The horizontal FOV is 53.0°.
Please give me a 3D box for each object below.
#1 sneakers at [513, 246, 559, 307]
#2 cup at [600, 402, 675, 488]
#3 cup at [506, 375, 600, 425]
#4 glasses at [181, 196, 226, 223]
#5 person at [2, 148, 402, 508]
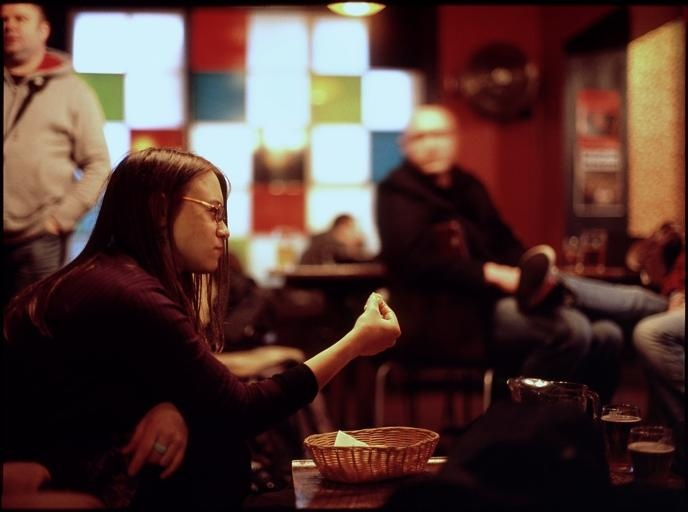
[{"bbox_3d":[0.690,0.066,2.460,0.154,0.209,0.053,9,13,-10],"label":"sneakers"},{"bbox_3d":[0.955,0.621,2.253,0.217,0.217,0.214,2,6,0],"label":"cup"},{"bbox_3d":[0.707,0.455,2.312,0.250,0.259,0.155,0,-2,21],"label":"cup"},{"bbox_3d":[-0.451,-0.162,2.237,0.085,0.027,0.087,22,-3,-3],"label":"glasses"},{"bbox_3d":[-0.565,0.241,2.254,1.241,1.168,0.420,4,6,13],"label":"person"}]
